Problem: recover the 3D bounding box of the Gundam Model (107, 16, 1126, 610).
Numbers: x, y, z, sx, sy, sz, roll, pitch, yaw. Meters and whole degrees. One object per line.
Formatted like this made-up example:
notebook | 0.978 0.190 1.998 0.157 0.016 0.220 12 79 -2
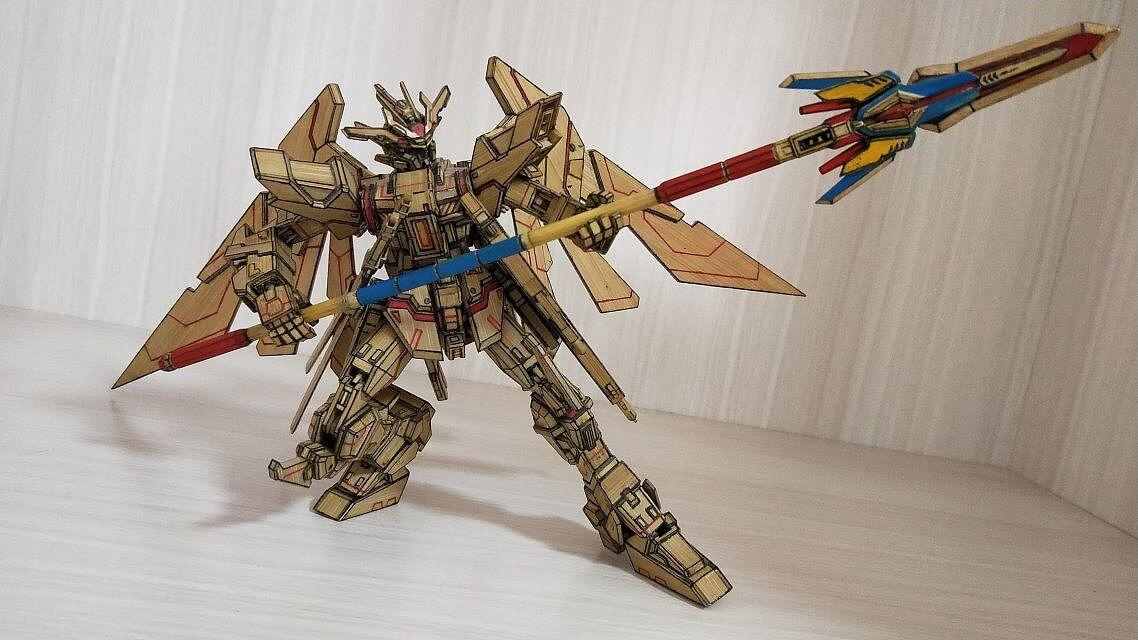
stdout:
Gundam Model | -0.109 -0.023 3.944 3.366 1.855 0.653 -1 0 13
